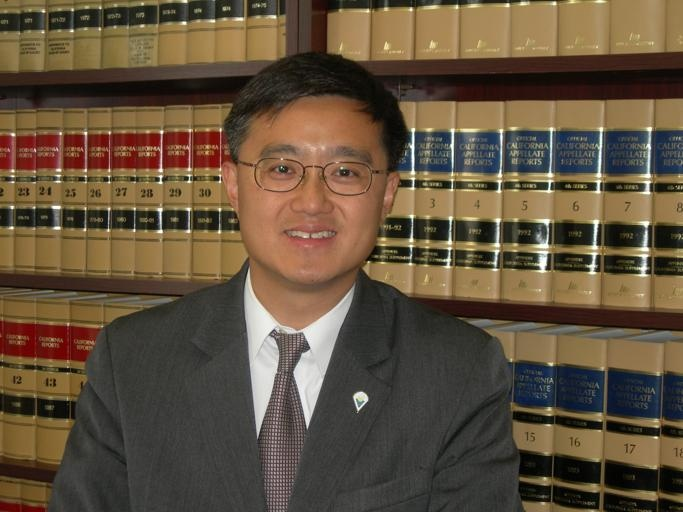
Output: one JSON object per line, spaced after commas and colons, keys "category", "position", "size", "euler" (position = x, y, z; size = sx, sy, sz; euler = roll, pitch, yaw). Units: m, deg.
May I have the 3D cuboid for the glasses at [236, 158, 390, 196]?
{"category": "glasses", "position": [-0.070, -0.166, 1.590], "size": [0.297, 0.085, 0.053], "euler": [1, -6, 3]}
